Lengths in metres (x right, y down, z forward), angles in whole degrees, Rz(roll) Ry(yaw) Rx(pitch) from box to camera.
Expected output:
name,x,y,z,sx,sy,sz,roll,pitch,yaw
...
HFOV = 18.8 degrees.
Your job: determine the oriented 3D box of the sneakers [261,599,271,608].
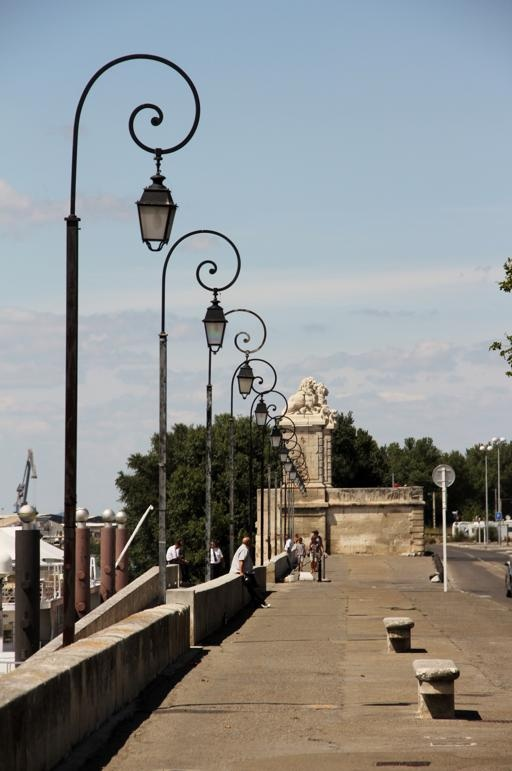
name,x,y,z,sx,sy,sz,roll,pitch,yaw
sneakers,0.177,3.769,26.621,0.087,0.129,0.293,-1,-11,5
